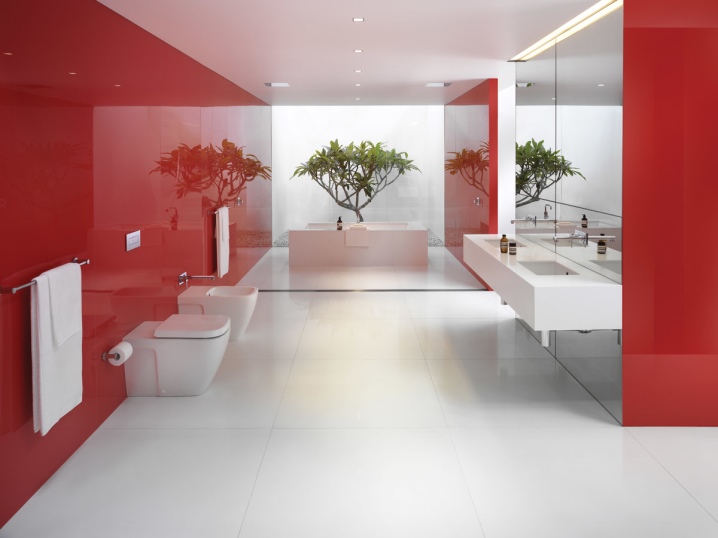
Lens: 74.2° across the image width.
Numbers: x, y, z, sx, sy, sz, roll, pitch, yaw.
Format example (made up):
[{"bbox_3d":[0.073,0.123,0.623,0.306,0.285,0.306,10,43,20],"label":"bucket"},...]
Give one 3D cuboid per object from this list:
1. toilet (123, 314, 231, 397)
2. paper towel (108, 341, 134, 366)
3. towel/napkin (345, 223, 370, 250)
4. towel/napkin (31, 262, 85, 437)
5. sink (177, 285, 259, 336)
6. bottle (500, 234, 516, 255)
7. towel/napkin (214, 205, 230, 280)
[{"bbox_3d":[-1.461,0.714,3.894,0.687,0.500,0.561,0,6,-5],"label":"toilet"},{"bbox_3d":[-1.712,0.606,3.464,0.161,0.164,0.197,-3,12,-5],"label":"paper towel"},{"bbox_3d":[-0.040,-0.604,8.639,0.380,0.402,0.377,0,2,-1],"label":"towel/napkin"},{"bbox_3d":[-1.708,0.446,2.697,0.095,0.761,0.444,4,6,-11],"label":"towel/napkin"},{"bbox_3d":[-1.415,0.426,5.011,0.690,0.456,0.594,0,15,-10],"label":"sink"},{"bbox_3d":[1.461,-0.215,4.551,0.197,0.213,0.102,2,4,40],"label":"bottle"},{"bbox_3d":[-1.767,-0.375,6.211,0.111,0.937,0.870,-1,18,-14],"label":"towel/napkin"}]
